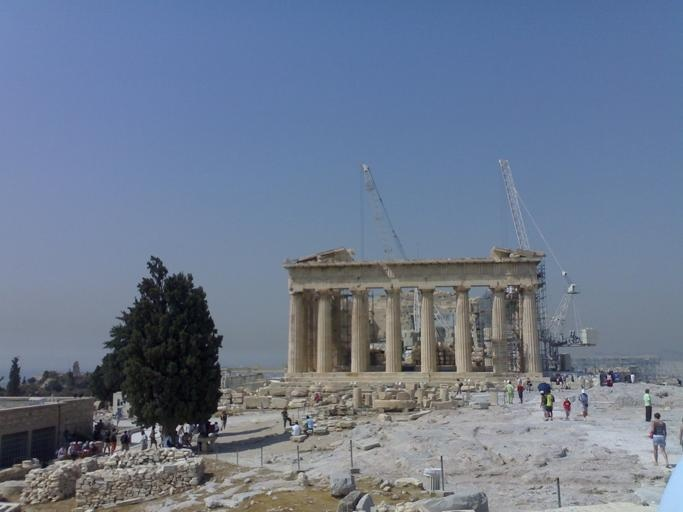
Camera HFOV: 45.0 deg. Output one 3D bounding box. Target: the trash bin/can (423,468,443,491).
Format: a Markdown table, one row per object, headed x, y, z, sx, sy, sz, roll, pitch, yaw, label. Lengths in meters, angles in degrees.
| x | y | z | sx | sy | sz | roll | pitch | yaw | label |
| --- | --- | --- | --- | --- | --- | --- | --- | --- | --- |
| 4.346 | 10.815 | 39.927 | 0.816 | 0.840 | 0.851 | 1 | -10 | -12 | trash bin/can |
